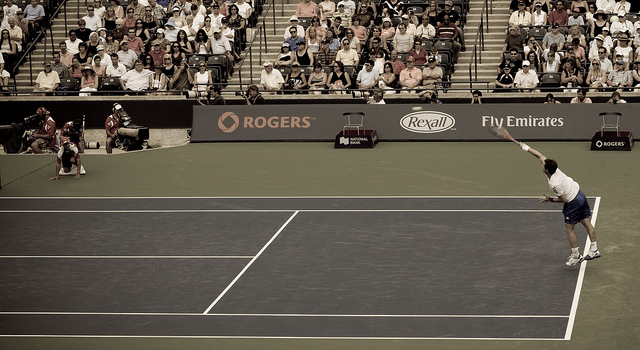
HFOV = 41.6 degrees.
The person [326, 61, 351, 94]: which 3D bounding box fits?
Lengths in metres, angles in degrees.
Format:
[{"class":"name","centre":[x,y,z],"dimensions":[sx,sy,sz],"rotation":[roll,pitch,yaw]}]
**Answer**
[{"class":"person","centre":[0.823,-4.645,38.881],"dimensions":[1.132,1.210,0.577],"rotation":[1,9,1]}]

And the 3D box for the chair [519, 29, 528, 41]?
[{"class":"chair","centre":[9.666,-6.708,40.131],"dimensions":[0.371,0.538,0.495],"rotation":[4,10,18]}]

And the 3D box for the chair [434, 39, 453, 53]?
[{"class":"chair","centre":[5.830,-6.293,40.283],"dimensions":[0.826,0.605,0.756],"rotation":[0,-6,11]}]

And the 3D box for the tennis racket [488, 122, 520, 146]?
[{"class":"tennis racket","centre":[7.570,-1.766,34.853],"dimensions":[0.283,0.580,1.899],"rotation":[34,7,-45]}]

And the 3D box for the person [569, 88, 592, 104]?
[{"class":"person","centre":[11.355,-3.509,36.926],"dimensions":[0.675,0.776,0.405],"rotation":[8,7,43]}]

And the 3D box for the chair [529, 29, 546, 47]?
[{"class":"chair","centre":[10.483,-6.587,40.374],"dimensions":[0.830,0.917,0.863],"rotation":[0,4,8]}]

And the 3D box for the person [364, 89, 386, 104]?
[{"class":"person","centre":[2.461,-3.612,38.138],"dimensions":[0.977,0.657,1.252],"rotation":[1,9,3]}]

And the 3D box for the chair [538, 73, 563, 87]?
[{"class":"chair","centre":[10.359,-4.330,38.007],"dimensions":[0.652,0.697,0.798],"rotation":[2,3,15]}]

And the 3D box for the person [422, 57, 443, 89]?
[{"class":"person","centre":[5.119,-4.737,38.497],"dimensions":[0.903,1.321,0.817],"rotation":[2,9,6]}]

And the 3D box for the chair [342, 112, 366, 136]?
[{"class":"chair","centre":[1.543,-2.280,37.487],"dimensions":[1.133,1.015,0.749],"rotation":[1,-2,-5]}]

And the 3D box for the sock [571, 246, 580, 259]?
[{"class":"sock","centre":[8.080,2.448,26.733],"dimensions":[0.178,0.316,0.337],"rotation":[-21,22,36]}]

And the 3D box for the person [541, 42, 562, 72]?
[{"class":"person","centre":[10.577,-5.398,38.561],"dimensions":[1.274,1.118,0.642],"rotation":[12,-20,16]}]

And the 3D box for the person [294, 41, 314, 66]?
[{"class":"person","centre":[-0.796,-5.875,40.349],"dimensions":[0.930,1.117,0.715],"rotation":[1,9,-3]}]
